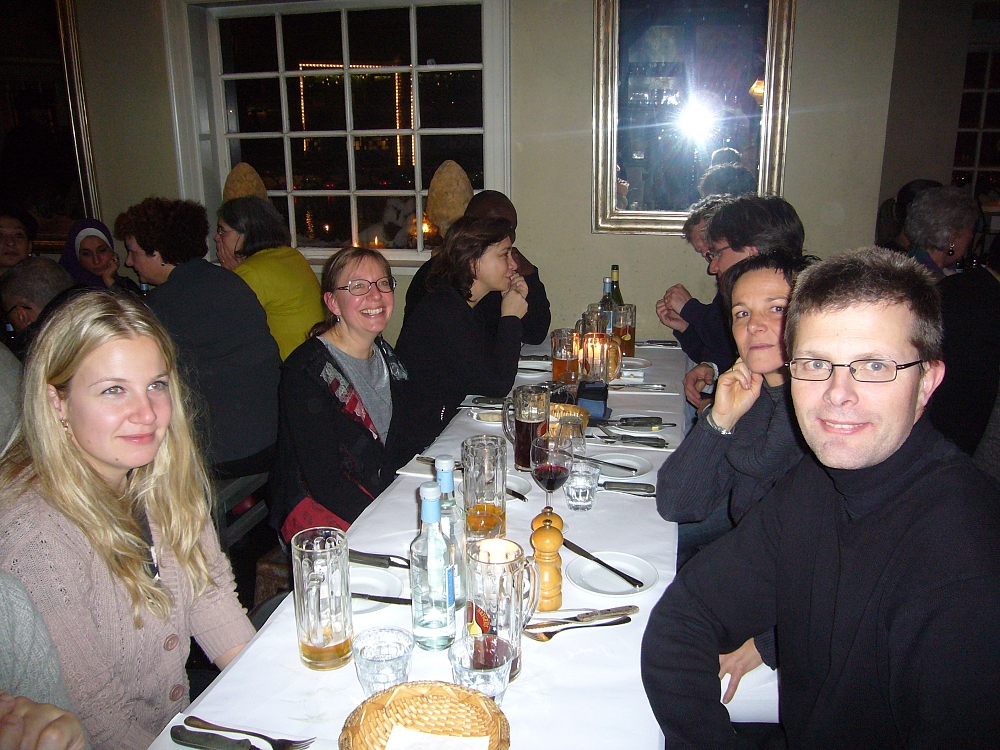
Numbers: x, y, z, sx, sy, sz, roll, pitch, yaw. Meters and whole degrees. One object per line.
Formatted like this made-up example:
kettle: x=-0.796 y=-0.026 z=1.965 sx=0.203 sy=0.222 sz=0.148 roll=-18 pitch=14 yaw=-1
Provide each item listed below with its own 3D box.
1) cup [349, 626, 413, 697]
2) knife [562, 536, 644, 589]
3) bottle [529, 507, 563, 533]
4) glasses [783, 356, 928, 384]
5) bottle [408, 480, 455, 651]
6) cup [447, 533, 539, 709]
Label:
cup: x=-0.232 y=0.570 z=1.548 sx=0.117 sy=0.091 sz=0.117 roll=-2 pitch=13 yaw=0
knife: x=0.246 y=0.457 z=1.874 sx=0.209 sy=0.024 sz=0.025 roll=32 pitch=-11 yaw=37
bottle: x=0.106 y=0.332 z=1.828 sx=0.054 sy=0.057 sz=0.056 roll=3 pitch=9 yaw=5
glasses: x=0.727 y=-0.011 z=1.605 sx=0.253 sy=0.061 sz=0.065 roll=4 pitch=15 yaw=23
bottle: x=-0.143 y=0.385 z=1.646 sx=0.096 sy=0.355 sz=0.145 roll=-3 pitch=13 yaw=-4
cup: x=-0.011 y=0.496 z=1.571 sx=0.177 sy=0.254 sz=0.287 roll=-1 pitch=13 yaw=2
